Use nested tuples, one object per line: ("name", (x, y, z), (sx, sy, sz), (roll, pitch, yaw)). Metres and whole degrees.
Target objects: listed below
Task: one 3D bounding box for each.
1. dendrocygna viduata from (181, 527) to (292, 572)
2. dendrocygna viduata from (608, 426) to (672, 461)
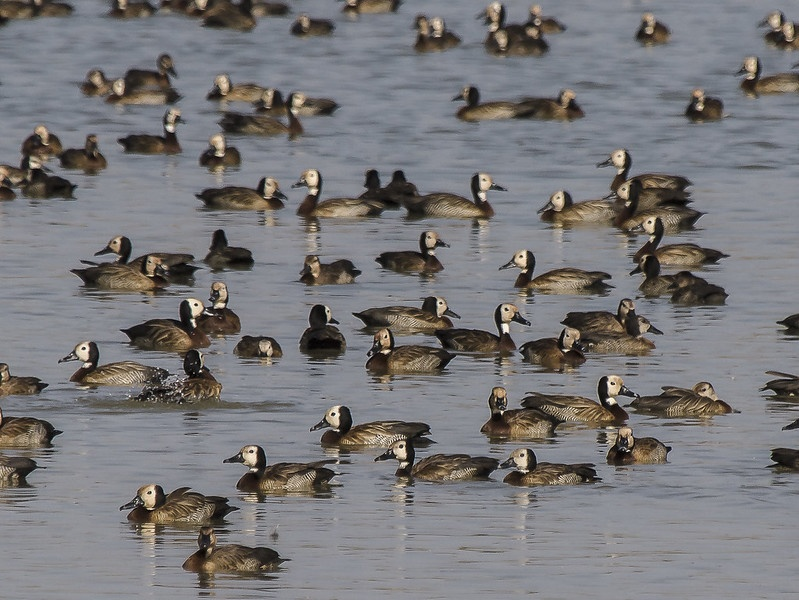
("dendrocygna viduata", (-2.675, 4.071, 25.975), (1.756, 0.684, 0.633), (3, 77, 3))
("dendrocygna viduata", (4.560, 2.862, 30.581), (1.093, 0.982, 0.699), (16, 81, 5))
